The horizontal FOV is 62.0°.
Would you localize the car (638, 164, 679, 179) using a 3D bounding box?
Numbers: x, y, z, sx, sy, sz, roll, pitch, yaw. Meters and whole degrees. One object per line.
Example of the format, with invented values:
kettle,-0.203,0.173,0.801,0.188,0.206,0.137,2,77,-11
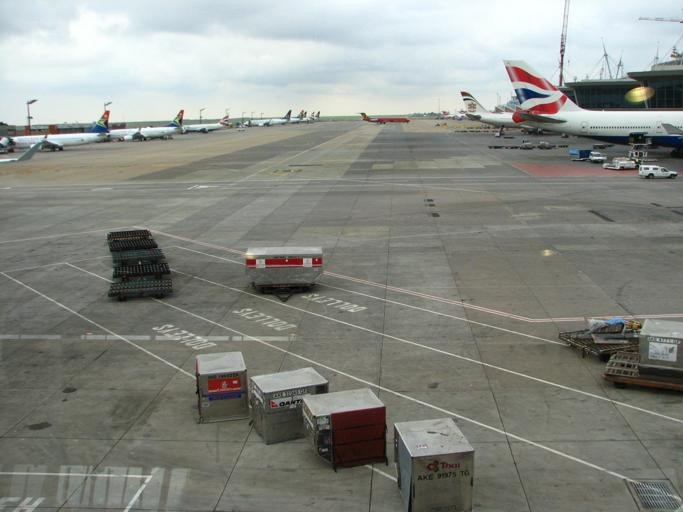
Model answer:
car,37.620,-9.991,67.639,3.805,1.558,2.553,2,12,16
